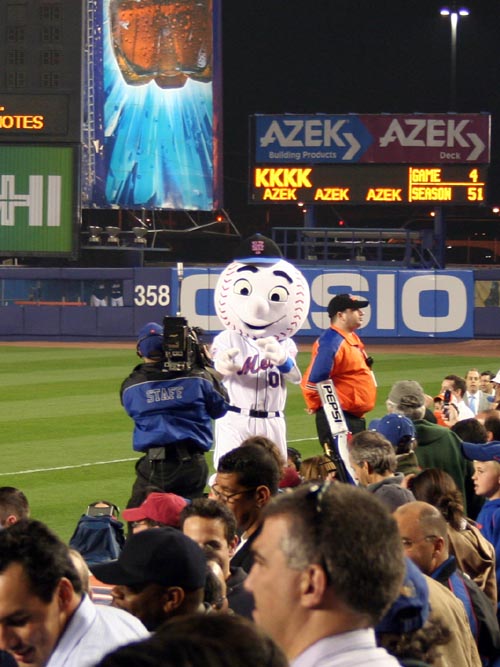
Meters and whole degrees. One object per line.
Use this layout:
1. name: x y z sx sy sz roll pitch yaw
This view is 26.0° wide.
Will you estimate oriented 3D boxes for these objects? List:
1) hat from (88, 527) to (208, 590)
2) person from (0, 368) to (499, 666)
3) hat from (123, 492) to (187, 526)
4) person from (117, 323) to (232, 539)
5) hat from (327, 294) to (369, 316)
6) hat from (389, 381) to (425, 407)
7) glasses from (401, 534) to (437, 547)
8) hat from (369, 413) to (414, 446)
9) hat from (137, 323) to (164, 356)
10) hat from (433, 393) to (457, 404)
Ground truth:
1. hat: -0.315 0.713 3.478 0.378 0.166 0.228 7 2 -14
2. person: 0.024 0.764 4.960 3.273 1.125 0.675 0 -7 -5
3. hat: -0.461 0.861 5.241 0.328 0.149 0.193 2 18 14
4. person: -0.556 0.516 6.855 0.518 1.090 0.802 2 5 26
5. hat: 0.752 -0.202 8.330 0.295 0.145 0.175 -12 12 5
6. hat: 1.061 0.401 7.091 0.213 0.173 0.161 18 -13 -15
7. glasses: 0.632 0.770 4.012 0.125 0.049 0.020 1 4 7
8. hat: 0.846 0.561 6.297 0.222 0.153 0.309 1 4 10
9. hat: -0.648 0.062 7.076 0.191 0.220 0.201 0 30 1
10. hat: 1.630 0.547 8.994 0.099 0.084 0.161 6 -16 44
